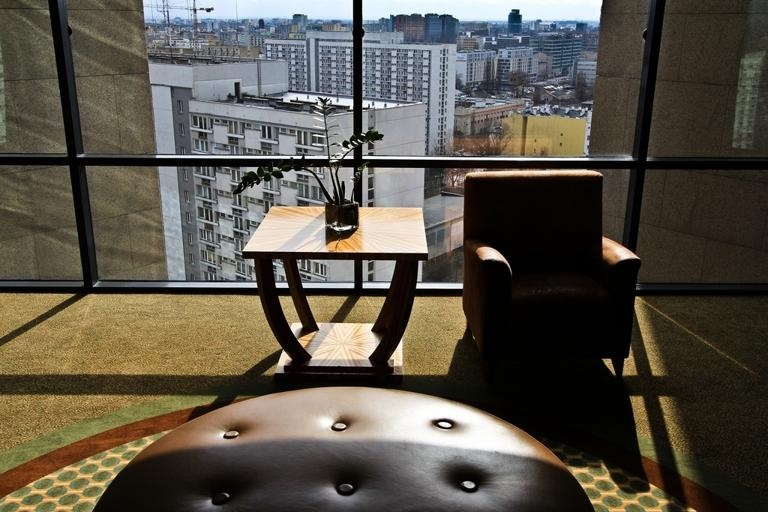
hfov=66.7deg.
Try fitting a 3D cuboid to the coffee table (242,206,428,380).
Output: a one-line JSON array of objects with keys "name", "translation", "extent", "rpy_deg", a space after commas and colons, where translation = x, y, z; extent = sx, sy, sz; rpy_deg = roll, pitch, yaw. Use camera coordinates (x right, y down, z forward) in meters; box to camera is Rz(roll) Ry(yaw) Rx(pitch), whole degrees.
[{"name": "coffee table", "translation": [-0.271, 0.298, 3.966], "extent": [1.280, 0.768, 0.867], "rpy_deg": [4, 13, 3]}]

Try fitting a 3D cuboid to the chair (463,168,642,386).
[{"name": "chair", "translation": [1.106, 0.085, 4.074], "extent": [1.391, 1.076, 1.292], "rpy_deg": [13, 24, 30]}]

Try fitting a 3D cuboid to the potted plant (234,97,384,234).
[{"name": "potted plant", "translation": [-0.505, -0.496, 3.916], "extent": [1.156, 0.750, 0.613], "rpy_deg": [-7, -2, 15]}]
